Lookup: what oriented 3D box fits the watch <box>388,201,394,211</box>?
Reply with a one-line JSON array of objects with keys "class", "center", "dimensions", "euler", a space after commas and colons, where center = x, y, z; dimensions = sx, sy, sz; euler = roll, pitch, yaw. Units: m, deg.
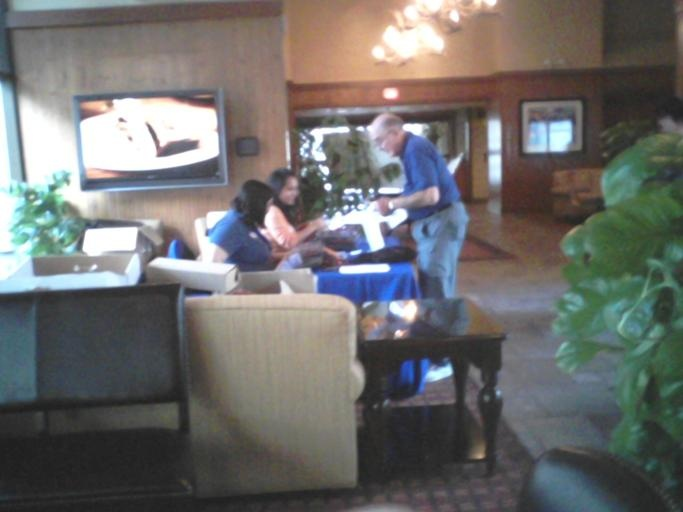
[{"class": "watch", "center": [0.145, -0.144, 1.848], "dimensions": [0.005, 0.020, 0.021], "euler": [1, -5, -12]}]

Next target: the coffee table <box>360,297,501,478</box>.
[{"class": "coffee table", "center": [0.213, 0.338, 1.919], "dimensions": [0.440, 0.425, 0.414], "euler": [-2, 17, -2]}]

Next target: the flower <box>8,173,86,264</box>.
[{"class": "flower", "center": [-0.907, -0.110, 2.032], "dimensions": [0.233, 0.245, 0.211], "euler": [0, -32, -15]}]

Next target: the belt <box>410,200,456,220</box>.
[{"class": "belt", "center": [0.264, -0.133, 1.859], "dimensions": [0.085, 0.032, 0.065], "euler": [-27, -3, 40]}]

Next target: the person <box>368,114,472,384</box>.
[{"class": "person", "center": [0.242, -0.078, 1.972], "dimensions": [0.263, 0.749, 0.266], "euler": [-2, 25, 7]}]
